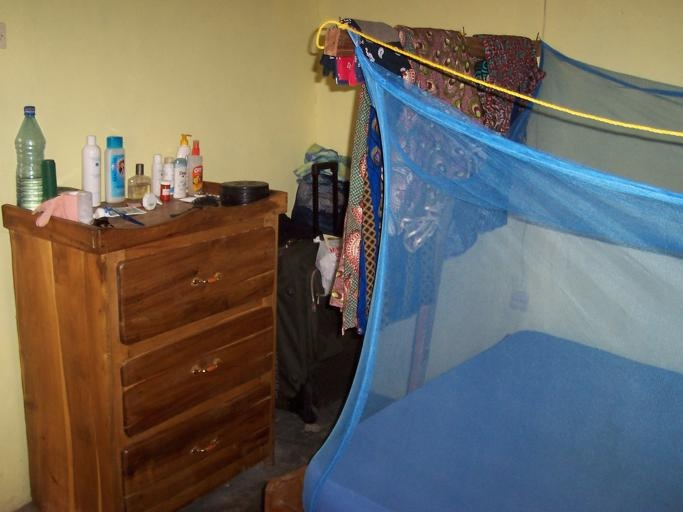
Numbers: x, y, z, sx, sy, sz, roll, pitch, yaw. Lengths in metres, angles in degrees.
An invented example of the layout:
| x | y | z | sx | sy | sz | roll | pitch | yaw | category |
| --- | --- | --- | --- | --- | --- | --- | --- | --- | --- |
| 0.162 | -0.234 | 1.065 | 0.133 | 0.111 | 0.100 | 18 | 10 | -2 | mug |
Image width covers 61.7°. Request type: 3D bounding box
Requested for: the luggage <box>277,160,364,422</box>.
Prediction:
| x | y | z | sx | sy | sz | roll | pitch | yaw | category |
| --- | --- | --- | --- | --- | --- | --- | --- | --- | --- |
| -0.172 | 0.208 | 2.836 | 0.336 | 1.317 | 0.403 | 21 | 28 | 38 | luggage |

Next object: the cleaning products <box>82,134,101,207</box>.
| x | y | z | sx | sy | sz | roll | pitch | yaw | category |
| --- | --- | --- | --- | --- | --- | --- | --- | --- | --- |
| -0.901 | -0.306 | 2.073 | 0.063 | 0.241 | 0.057 | -7 | 18 | -29 | cleaning products |

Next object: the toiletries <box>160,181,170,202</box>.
| x | y | z | sx | sy | sz | roll | pitch | yaw | category |
| --- | --- | --- | --- | --- | --- | --- | --- | --- | --- |
| -0.686 | -0.255 | 2.244 | 0.043 | 0.074 | 0.073 | -1 | 17 | -9 | toiletries |

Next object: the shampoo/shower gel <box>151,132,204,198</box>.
| x | y | z | sx | sy | sz | roll | pitch | yaw | category |
| --- | --- | --- | --- | --- | --- | --- | --- | --- | --- |
| -0.646 | -0.334 | 2.293 | 0.146 | 0.289 | 0.163 | 18 | 23 | 35 | shampoo/shower gel |

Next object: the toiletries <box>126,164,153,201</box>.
| x | y | z | sx | sy | sz | roll | pitch | yaw | category |
| --- | --- | --- | --- | --- | --- | --- | --- | --- | --- |
| -0.798 | -0.295 | 2.269 | 0.092 | 0.144 | 0.184 | -4 | 18 | -20 | toiletries |
